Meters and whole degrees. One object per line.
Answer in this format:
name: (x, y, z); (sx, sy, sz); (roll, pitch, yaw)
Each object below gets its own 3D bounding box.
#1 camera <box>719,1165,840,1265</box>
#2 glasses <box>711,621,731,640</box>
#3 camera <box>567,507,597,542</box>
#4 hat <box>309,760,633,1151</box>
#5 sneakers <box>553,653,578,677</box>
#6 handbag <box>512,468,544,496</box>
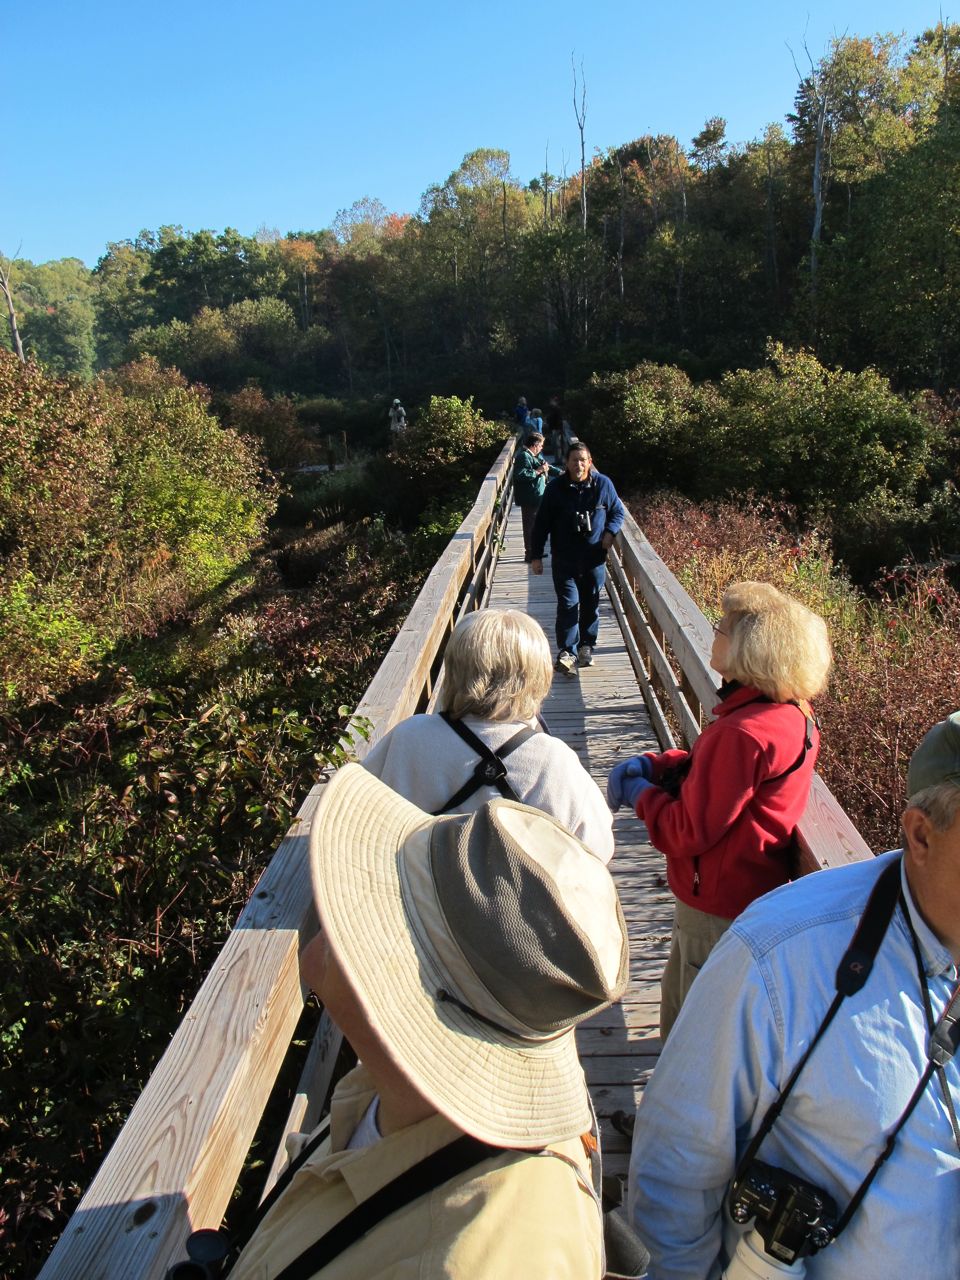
camera: (0.375, 0.713, 1.115); (0.090, 0.054, 0.133); (22, 10, 12)
glasses: (0.683, -0.026, 2.577); (0.040, 0.054, 0.045); (-19, 38, 10)
camera: (0.685, -0.778, 6.056); (0.162, 0.165, 0.057); (38, 13, 9)
hat: (-0.056, 0.364, 1.011); (0.149, 0.405, 0.370); (-28, 0, 33)
sneakers: (0.598, 0.181, 6.384); (0.106, 0.087, 0.243); (-4, -14, -8)
handbag: (0.482, -1.637, 9.444); (0.292, 0.318, 0.296); (10, 25, 18)
